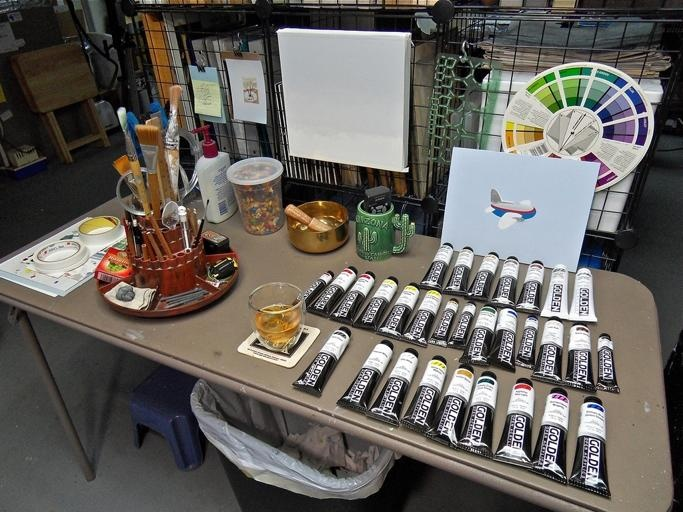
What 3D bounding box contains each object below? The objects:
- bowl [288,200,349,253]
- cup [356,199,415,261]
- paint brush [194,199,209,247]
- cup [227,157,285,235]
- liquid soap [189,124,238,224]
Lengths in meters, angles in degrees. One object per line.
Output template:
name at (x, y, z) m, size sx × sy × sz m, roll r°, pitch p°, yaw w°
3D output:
bowl at (-0.061, -0.078, 1.257) m, size 0.150 × 0.080 × 0.162 m, roll 0°, pitch 41°, yaw 0°
cup at (0.108, -0.087, 1.246) m, size 0.179 × 0.164 × 0.117 m, roll 21°, pitch 42°, yaw 25°
paint brush at (-0.391, -0.090, 1.251) m, size 0.024 × 0.155 × 0.018 m, roll 18°, pitch 22°, yaw -3°
cup at (-0.238, -0.169, 1.377) m, size 0.177 × 0.217 × 0.177 m, roll -1°, pitch 36°, yaw 1°
liquid soap at (-0.384, -0.241, 1.343) m, size 0.089 × 0.366 × 0.151 m, roll 20°, pitch 45°, yaw 20°
